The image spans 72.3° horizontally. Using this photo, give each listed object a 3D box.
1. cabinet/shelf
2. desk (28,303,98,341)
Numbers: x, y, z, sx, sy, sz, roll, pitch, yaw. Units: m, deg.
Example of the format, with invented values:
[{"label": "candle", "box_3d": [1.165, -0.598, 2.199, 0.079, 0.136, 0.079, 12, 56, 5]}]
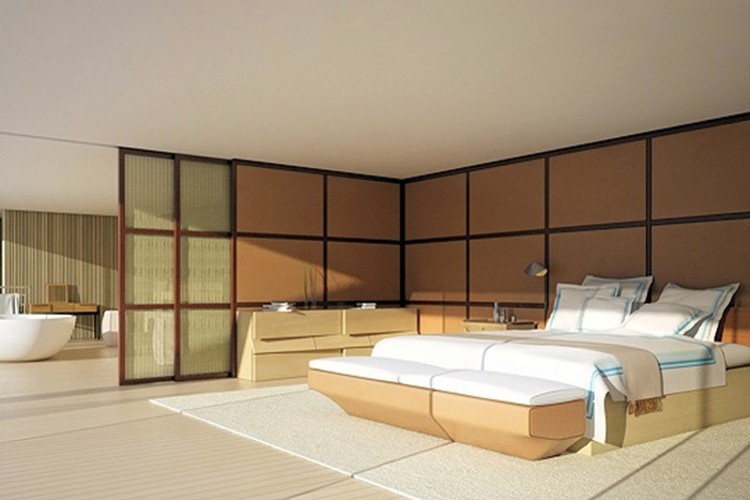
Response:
[{"label": "cabinet/shelf", "box_3d": [-0.610, 1.381, 7.775, 2.713, 0.972, 0.694, 3, -7, -29]}, {"label": "desk", "box_3d": [-6.321, 1.415, 10.328, 0.885, 0.539, 0.320, 3, -6, -34]}]
